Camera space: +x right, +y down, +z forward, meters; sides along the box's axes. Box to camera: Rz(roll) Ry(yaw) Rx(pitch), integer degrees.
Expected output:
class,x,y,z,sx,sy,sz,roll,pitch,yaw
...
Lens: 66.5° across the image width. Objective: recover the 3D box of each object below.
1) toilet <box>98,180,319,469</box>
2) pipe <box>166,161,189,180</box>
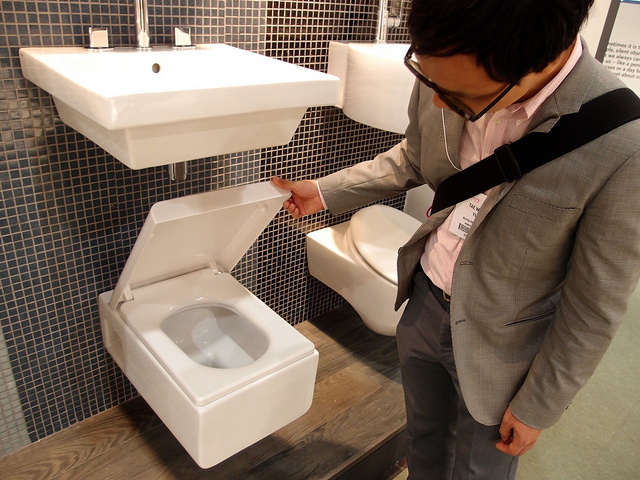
class,x,y,z,sx,sy,sz,roll,pitch,yaw
toilet,-0.352,0.179,1.475,0.514,0.716,0.673,-11,32,-32
pipe,-0.433,-0.209,1.484,0.057,0.088,0.052,-1,36,-7
